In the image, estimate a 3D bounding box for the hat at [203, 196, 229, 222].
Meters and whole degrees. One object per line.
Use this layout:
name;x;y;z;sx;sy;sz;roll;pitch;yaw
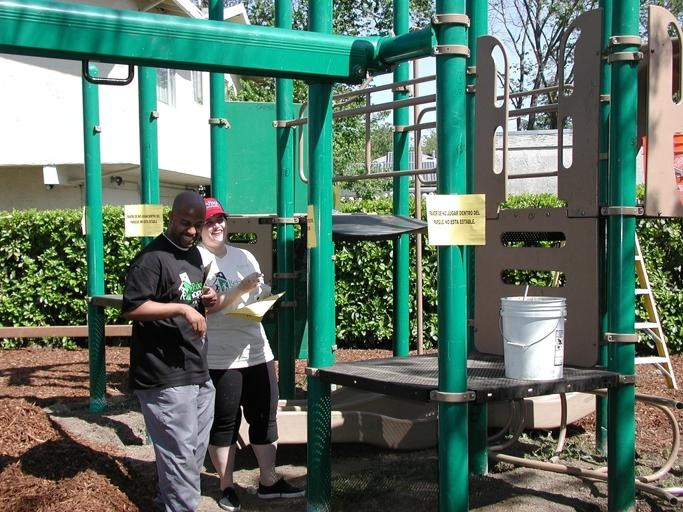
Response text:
hat;-0.953;-0.354;5.486;0.189;0.168;0.319;0;1;-24

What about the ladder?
ladder;3.524;0.626;8.160;0.442;1.689;3.236;0;1;22

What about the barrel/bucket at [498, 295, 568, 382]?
barrel/bucket;1.212;0.503;4.622;0.421;0.493;0.466;1;-3;-16

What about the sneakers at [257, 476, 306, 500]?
sneakers;-0.462;1.803;5.729;0.365;0.195;0.148;0;-6;-5
